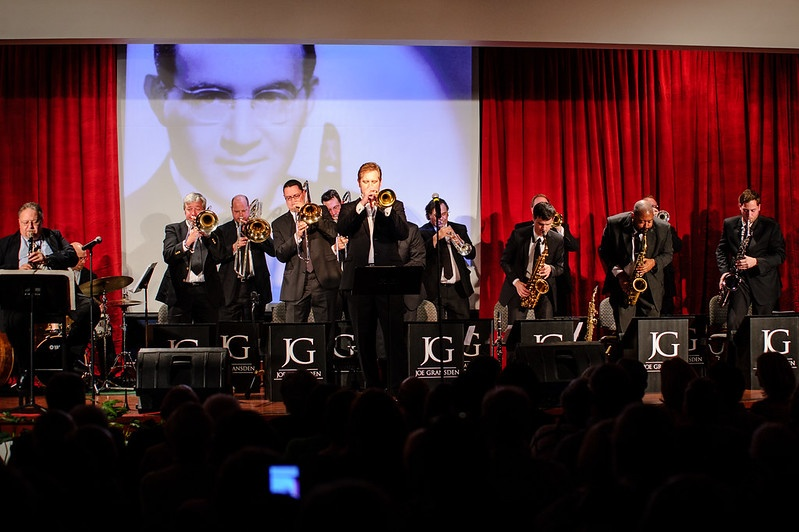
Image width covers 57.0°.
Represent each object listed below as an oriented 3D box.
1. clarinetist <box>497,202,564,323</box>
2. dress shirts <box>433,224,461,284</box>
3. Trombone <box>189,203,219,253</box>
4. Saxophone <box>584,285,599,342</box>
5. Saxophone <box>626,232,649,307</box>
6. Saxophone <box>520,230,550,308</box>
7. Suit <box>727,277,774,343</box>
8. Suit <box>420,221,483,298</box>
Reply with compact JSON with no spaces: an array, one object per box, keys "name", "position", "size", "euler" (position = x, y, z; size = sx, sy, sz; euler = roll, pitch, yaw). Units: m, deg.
[{"name":"clarinetist","position":[1.682,0.211,9.537],"size":[0.800,2.105,0.762],"euler":[7,27,12]},{"name":"dress shirts","position":[0.597,-0.133,9.259],"size":[0.380,0.698,0.349],"euler":[-14,-2,-20]},{"name":"Trombone","position":[-2.265,-0.469,8.578],"size":[0.243,0.234,0.458],"euler":[7,-12,-16]},{"name":"Saxophone","position":[2.593,0.635,9.953],"size":[0.181,0.730,1.116],"euler":[-1,-2,15]},{"name":"Saxophone","position":[2.890,0.045,8.962],"size":[0.236,0.891,0.189],"euler":[-1,-2,24]},{"name":"Saxophone","position":[1.655,0.094,9.111],"size":[0.377,1.154,0.299],"euler":[-6,31,17]},{"name":"Suit","position":[4.112,0.535,8.594],"size":[0.416,0.316,0.978],"euler":[22,35,30]},{"name":"Suit","position":[0.632,-0.056,9.524],"size":[0.693,1.028,0.564],"euler":[-7,-3,-7]}]
